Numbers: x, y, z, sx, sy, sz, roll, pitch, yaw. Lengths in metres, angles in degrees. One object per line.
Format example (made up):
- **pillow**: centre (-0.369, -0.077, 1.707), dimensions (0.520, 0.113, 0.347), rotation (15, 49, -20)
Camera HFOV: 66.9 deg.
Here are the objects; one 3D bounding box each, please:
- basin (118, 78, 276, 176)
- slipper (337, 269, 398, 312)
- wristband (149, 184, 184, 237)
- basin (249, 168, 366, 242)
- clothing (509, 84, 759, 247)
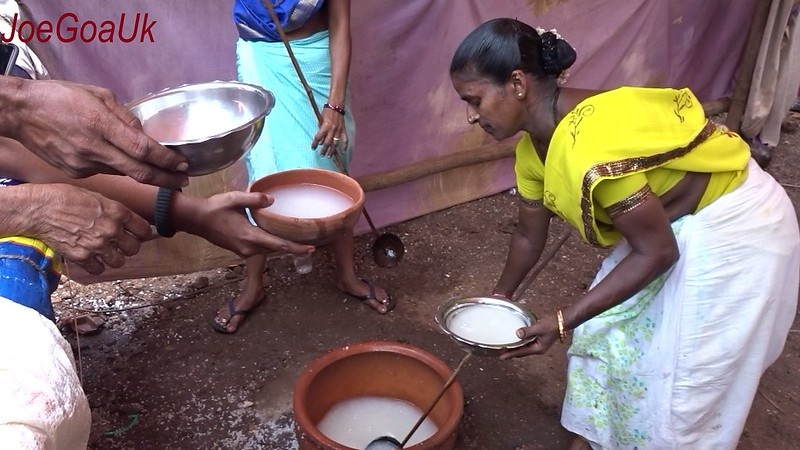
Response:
- **basin**: centre (-1.049, -0.567, 3.244), dimensions (0.638, 0.241, 0.607), rotation (-1, 38, 1)
- **slipper**: centre (-0.240, 0.525, 4.552), dimensions (0.471, 0.113, 0.192), rotation (32, 67, 14)
- **wristband**: centre (-1.280, -0.064, 3.342), dimensions (0.088, 0.211, 0.228), rotation (2, 100, -6)
- **basin**: centre (-0.495, -0.112, 3.362), dimensions (0.506, 0.203, 0.475), rotation (1, 29, -1)
- **clothing**: centre (1.307, -0.331, 3.245), dimensions (1.045, 0.655, 0.567), rotation (-15, 55, -5)
